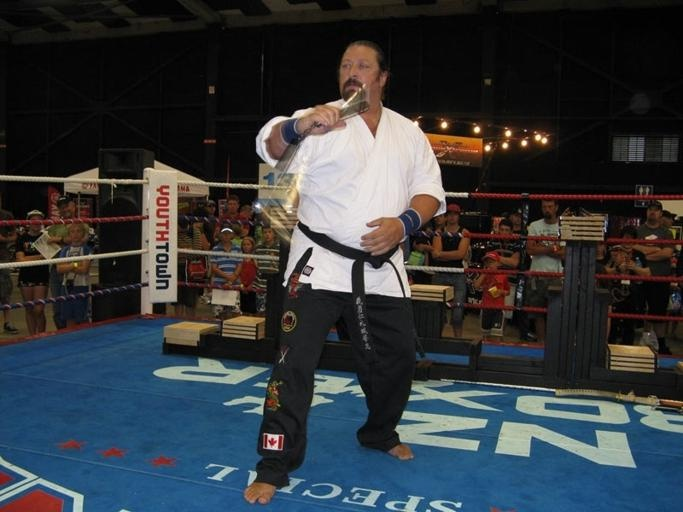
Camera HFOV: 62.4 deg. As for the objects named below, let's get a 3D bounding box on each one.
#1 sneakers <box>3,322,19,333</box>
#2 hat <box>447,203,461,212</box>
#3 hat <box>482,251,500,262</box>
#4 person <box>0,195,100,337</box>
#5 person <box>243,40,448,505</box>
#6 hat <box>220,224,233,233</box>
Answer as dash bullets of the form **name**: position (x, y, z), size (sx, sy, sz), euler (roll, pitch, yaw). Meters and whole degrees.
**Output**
- **sneakers**: position (-4.347, 0.942, 7.351), size (0.256, 0.130, 0.085), euler (2, 2, -2)
- **hat**: position (1.378, -0.596, 6.940), size (0.172, 0.080, 0.225), euler (6, -2, 12)
- **hat**: position (1.691, 0.013, 6.301), size (0.165, 0.120, 0.222), euler (3, 8, 9)
- **person**: position (-3.489, 0.185, 6.711), size (0.703, 1.716, 1.530), euler (-2, 9, -30)
- **person**: position (0.038, 0.045, 2.843), size (1.044, 2.199, 0.545), euler (0, 8, -13)
- **hat**: position (-1.412, -0.332, 6.876), size (0.153, 0.098, 0.285), euler (0, 8, -12)
